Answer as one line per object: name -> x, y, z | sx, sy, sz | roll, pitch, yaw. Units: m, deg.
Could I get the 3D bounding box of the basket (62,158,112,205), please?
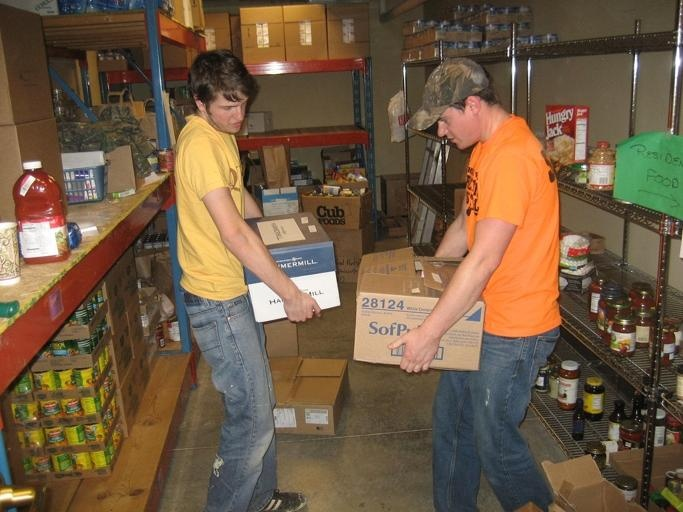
basket -> -1.180, -0.314, 2.526 | 0.207, 0.172, 0.193 | -9, -6, -4

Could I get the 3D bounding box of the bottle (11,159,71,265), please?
bottle -> -0.995, -0.150, 1.789 | 0.155, 0.311, 0.205 | -13, 18, -29

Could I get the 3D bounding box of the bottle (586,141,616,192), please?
bottle -> 1.126, -0.398, 2.367 | 0.112, 0.193, 0.115 | -3, 16, 1

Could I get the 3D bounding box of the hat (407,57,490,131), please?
hat -> 0.409, -0.658, 2.124 | 0.369, 0.191, 0.237 | -21, 20, 7

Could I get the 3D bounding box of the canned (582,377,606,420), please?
canned -> 1.345, 0.768, 2.923 | 0.136, 0.213, 0.140 | 3, 9, 26

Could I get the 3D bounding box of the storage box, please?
storage box -> 0.295, 0.189, 2.167 | 0.442, 0.279, 0.446 | 5, 23, 5
